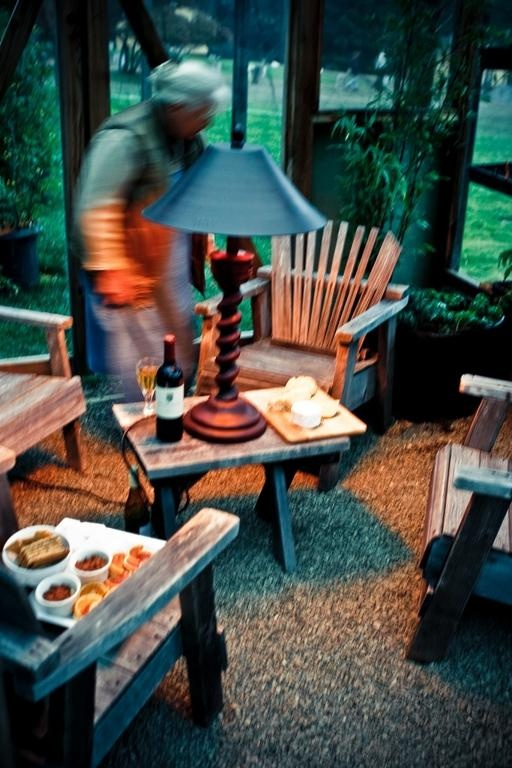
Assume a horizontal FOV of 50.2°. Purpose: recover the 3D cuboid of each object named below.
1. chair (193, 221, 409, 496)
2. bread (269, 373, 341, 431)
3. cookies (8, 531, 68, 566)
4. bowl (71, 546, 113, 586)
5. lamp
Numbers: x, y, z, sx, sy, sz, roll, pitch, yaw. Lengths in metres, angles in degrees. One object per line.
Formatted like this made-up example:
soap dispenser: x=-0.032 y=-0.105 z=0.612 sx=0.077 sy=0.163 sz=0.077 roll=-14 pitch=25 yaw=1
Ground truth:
chair: x=0.185 y=-0.165 z=2.410 sx=0.963 sy=1.018 sz=1.021 roll=-4 pitch=20 yaw=-16
bread: x=0.151 y=0.061 z=1.739 sx=0.161 sy=0.049 sz=0.167 roll=33 pitch=42 yaw=25
cookies: x=-0.472 y=0.339 z=1.191 sx=0.083 sy=0.030 sz=0.064 roll=17 pitch=20 yaw=36
bowl: x=-0.359 y=0.400 z=1.209 sx=0.060 sy=0.048 sz=0.068 roll=8 pitch=27 yaw=11
lamp: x=-0.064 y=-0.186 z=1.414 sx=0.372 sy=0.781 sz=0.361 roll=19 pitch=27 yaw=33
